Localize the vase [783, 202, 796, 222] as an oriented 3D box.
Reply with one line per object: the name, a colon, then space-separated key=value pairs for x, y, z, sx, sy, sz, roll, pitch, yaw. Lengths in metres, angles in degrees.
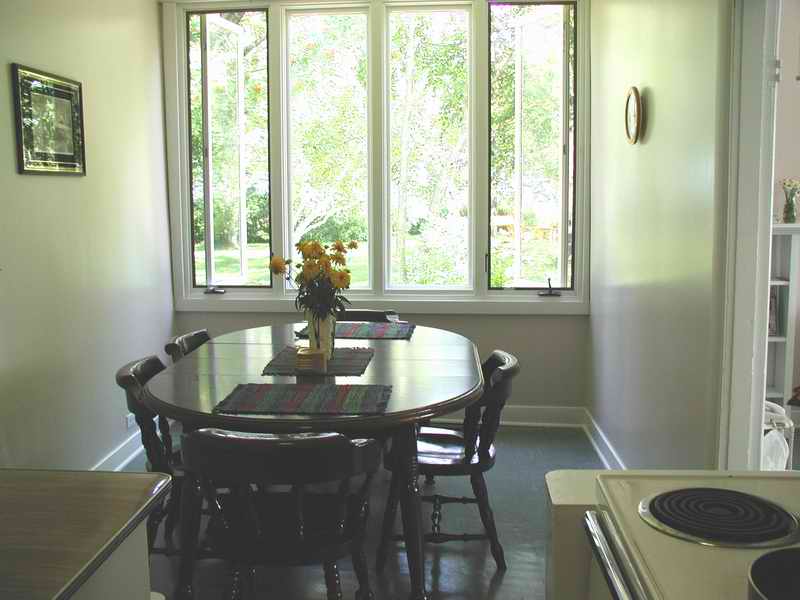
vase: x=2.514 y=-0.573 z=4.084 sx=0.066 sy=0.130 sz=0.074 roll=4 pitch=10 yaw=24

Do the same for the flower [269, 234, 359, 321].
flower: x=-0.376 y=-0.123 z=2.783 sx=0.364 sy=0.313 sz=0.336 roll=8 pitch=16 yaw=-15
